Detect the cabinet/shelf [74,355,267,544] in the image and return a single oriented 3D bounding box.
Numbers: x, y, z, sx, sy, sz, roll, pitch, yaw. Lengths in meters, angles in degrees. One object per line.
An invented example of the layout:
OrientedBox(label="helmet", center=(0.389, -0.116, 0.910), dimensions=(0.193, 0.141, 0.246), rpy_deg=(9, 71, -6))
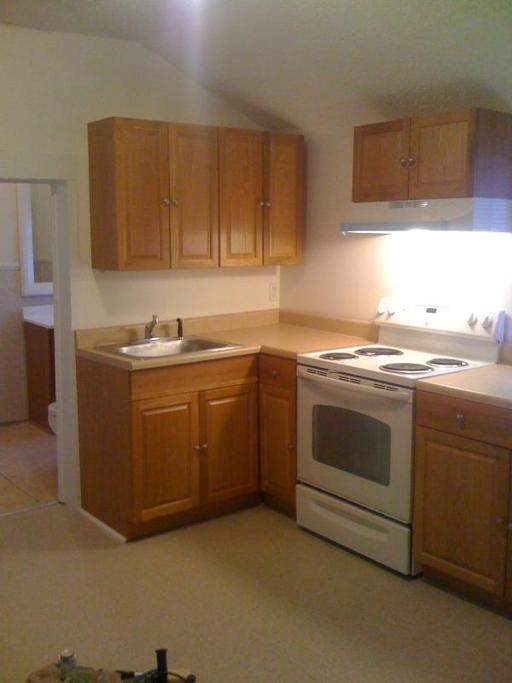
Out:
OrientedBox(label="cabinet/shelf", center=(-0.434, 0.346, 2.859), dimensions=(0.940, 1.141, 0.723), rpy_deg=(-6, 8, -38))

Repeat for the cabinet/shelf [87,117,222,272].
OrientedBox(label="cabinet/shelf", center=(-0.500, -0.694, 2.579), dimensions=(0.651, 0.850, 0.280), rpy_deg=(-6, 10, -39))

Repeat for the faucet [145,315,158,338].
OrientedBox(label="faucet", center=(-0.543, -0.075, 2.834), dimensions=(0.068, 0.118, 0.191), rpy_deg=(0, 3, -11))

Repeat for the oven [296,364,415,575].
OrientedBox(label="oven", center=(0.512, 0.460, 2.394), dimensions=(0.586, 0.809, 0.547), rpy_deg=(8, 16, 36))

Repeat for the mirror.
OrientedBox(label="mirror", center=(-1.714, -0.783, 4.275), dimensions=(0.237, 0.859, 0.350), rpy_deg=(-1, 3, -24))
